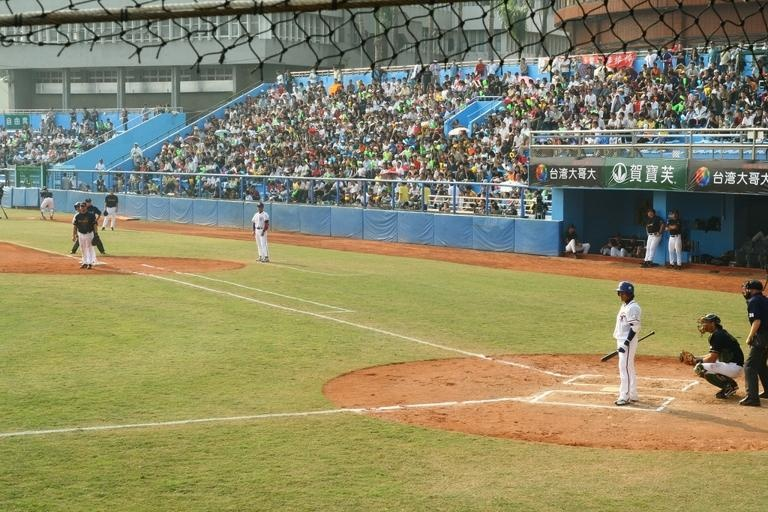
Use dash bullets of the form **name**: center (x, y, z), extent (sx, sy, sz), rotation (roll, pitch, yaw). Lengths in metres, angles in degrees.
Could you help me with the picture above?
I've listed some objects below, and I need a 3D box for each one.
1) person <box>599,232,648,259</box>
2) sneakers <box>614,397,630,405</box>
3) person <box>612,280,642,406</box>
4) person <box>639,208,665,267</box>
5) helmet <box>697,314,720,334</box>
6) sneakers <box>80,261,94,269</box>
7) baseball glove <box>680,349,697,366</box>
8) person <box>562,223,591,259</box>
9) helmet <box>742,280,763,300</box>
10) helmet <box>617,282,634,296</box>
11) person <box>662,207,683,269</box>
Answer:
- **person**: center (9.244, -0.357, 44.893), extent (0.911, 0.740, 1.619), rotation (11, -7, -41)
- **sneakers**: center (5.578, 3.446, 27.731), extent (0.314, 0.130, 0.138), rotation (0, -1, 9)
- **person**: center (5.681, 2.079, 27.665), extent (0.563, 2.901, 0.627), rotation (1, 2, 10)
- **person**: center (9.805, -0.669, 43.045), extent (0.790, 2.099, 1.058), rotation (1, 2, 11)
- **helmet**: center (7.803, 1.638, 28.192), extent (0.526, 0.445, 0.432), rotation (8, 1, 19)
- **sneakers**: center (-9.921, 0.313, 39.260), extent (0.540, 0.210, 0.197), rotation (7, 12, 23)
- **baseball glove**: center (7.214, 2.453, 28.233), extent (0.506, 0.254, 0.322), rotation (21, 40, 39)
- **person**: center (7.224, -0.562, 45.512), extent (1.155, 1.638, 1.290), rotation (-1, 3, 28)
- **helmet**: center (8.752, 0.787, 28.105), extent (0.446, 0.450, 0.481), rotation (-5, 13, -31)
- **helmet**: center (5.609, 0.740, 27.584), extent (0.406, 0.237, 0.312), rotation (22, 13, 37)
- **person**: center (10.470, -0.633, 42.621), extent (0.577, 2.073, 1.174), rotation (1, 2, 12)
